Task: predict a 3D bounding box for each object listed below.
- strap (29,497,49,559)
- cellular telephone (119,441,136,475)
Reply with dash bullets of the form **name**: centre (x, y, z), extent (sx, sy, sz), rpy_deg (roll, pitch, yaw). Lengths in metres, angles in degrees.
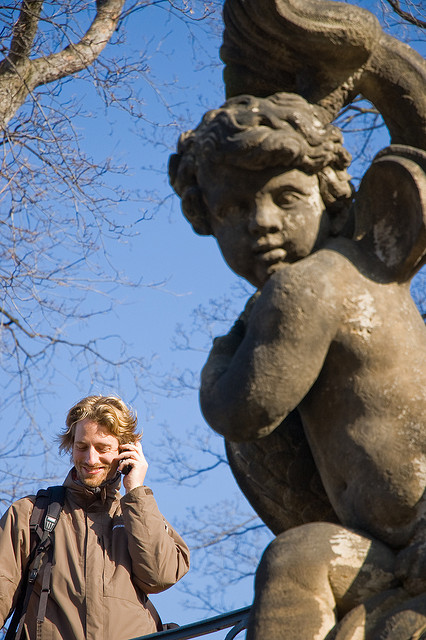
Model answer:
- **strap**: centre (-0.706, 0.840, 7.062), extent (0.091, 0.165, 0.044), rpy_deg (-8, -27, 15)
- **cellular telephone**: centre (-0.369, 0.582, 7.317), extent (0.049, 0.140, 0.101), rpy_deg (11, -5, -44)
